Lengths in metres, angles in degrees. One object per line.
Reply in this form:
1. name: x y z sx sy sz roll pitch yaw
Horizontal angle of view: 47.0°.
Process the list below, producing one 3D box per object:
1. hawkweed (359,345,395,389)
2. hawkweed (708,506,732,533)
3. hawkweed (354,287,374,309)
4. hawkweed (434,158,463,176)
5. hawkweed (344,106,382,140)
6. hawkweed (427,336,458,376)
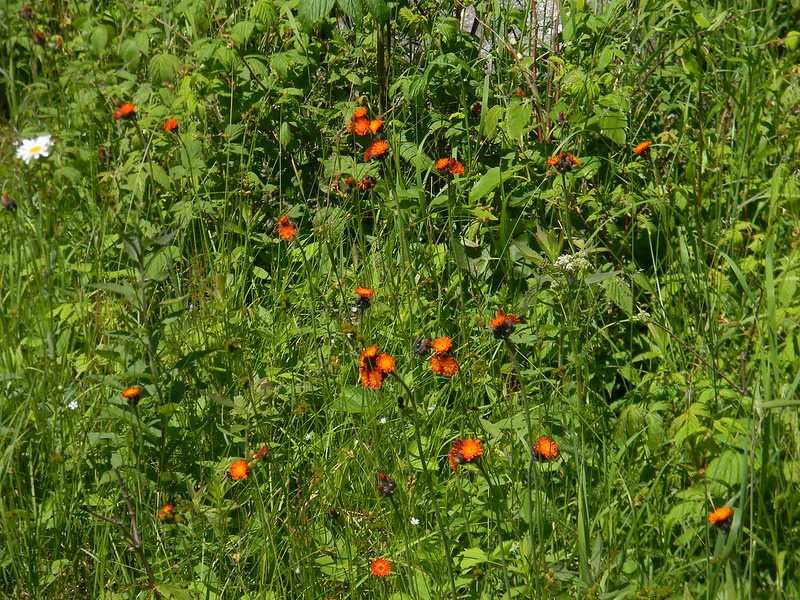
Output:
1. hawkweed: -0.080 0.226 3.005 0.104 0.121 0.064 -1 69 -26
2. hawkweed: 0.981 0.649 2.835 0.058 0.083 0.072 -8 24 3
3. hawkweed: -0.123 0.010 3.157 0.056 0.099 0.067 5 27 5
4. hawkweed: 0.189 -0.539 3.728 0.078 0.061 0.083 22 0 -25
5. hawkweed: -0.143 -0.730 3.838 0.123 0.075 0.173 -7 68 3
6. hawkweed: 0.158 0.216 3.134 0.112 0.079 0.105 29 36 -33
